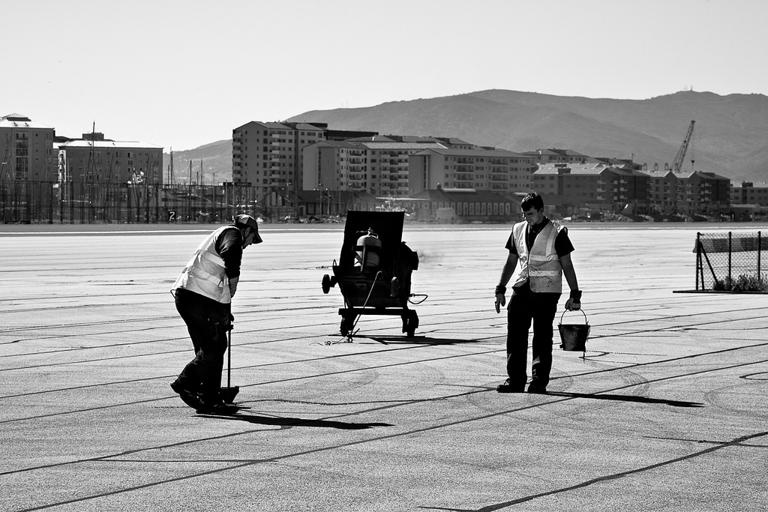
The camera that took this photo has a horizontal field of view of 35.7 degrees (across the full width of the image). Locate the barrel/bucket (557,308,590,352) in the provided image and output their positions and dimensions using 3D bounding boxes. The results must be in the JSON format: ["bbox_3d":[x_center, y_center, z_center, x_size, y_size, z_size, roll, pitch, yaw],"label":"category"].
[{"bbox_3d":[2.934,1.067,18.281,0.535,0.665,0.578,2,-5,0],"label":"barrel/bucket"}]

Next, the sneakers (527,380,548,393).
[{"bbox_3d":[2.150,1.761,16.525,0.279,0.194,0.248,1,4,0],"label":"sneakers"}]

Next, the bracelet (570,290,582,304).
[{"bbox_3d":[2.737,0.547,16.761,0.214,0.197,0.183,0,5,-15],"label":"bracelet"}]

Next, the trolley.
[{"bbox_3d":[-0.128,0.263,22.632,1.806,2.152,2.083,1,-7,30],"label":"trolley"}]

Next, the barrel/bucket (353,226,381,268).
[{"bbox_3d":[-0.267,-0.116,22.063,0.557,0.729,0.605,0,-3,0],"label":"barrel/bucket"}]

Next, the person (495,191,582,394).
[{"bbox_3d":[2.161,0.468,16.796,1.111,2.742,0.950,1,4,6],"label":"person"}]

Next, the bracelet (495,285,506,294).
[{"bbox_3d":[1.674,0.454,17.036,0.134,0.101,0.129,-2,-2,8],"label":"bracelet"}]

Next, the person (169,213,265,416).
[{"bbox_3d":[-2.236,0.710,15.674,1.111,2.526,0.952,0,4,-16],"label":"person"}]
